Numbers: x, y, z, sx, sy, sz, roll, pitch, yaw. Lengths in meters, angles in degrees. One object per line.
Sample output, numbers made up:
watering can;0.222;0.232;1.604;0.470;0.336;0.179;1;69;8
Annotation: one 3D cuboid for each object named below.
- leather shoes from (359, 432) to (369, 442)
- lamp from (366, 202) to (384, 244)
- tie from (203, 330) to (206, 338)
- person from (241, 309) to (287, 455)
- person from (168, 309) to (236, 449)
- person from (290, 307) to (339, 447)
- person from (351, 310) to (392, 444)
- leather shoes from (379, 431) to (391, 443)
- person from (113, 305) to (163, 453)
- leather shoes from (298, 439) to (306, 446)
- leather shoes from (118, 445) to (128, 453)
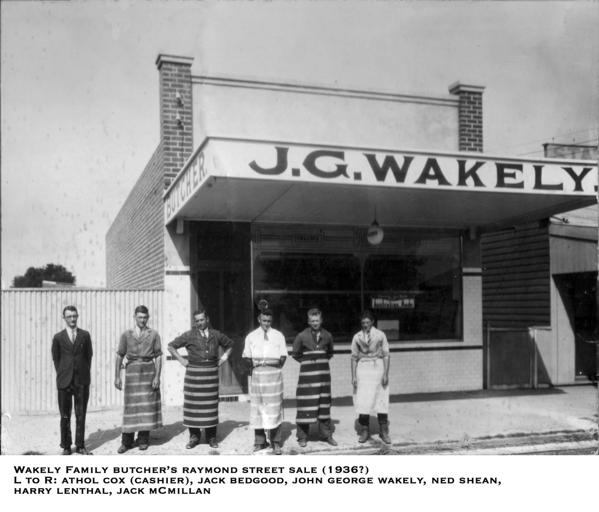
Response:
leather shoes;0.990;2.746;12.682;0.170;0.166;0.263;4;10;5
lamp;1.475;-0.548;15.906;0.347;0.833;1.137;3;10;5
tie;-1.420;1.164;12.440;0.049;0.090;0.020;1;-25;-5
person;-0.510;1.847;12.190;0.617;2.082;0.588;2;8;-3
person;-1.460;1.851;12.412;0.873;2.020;0.520;1;8;-8
person;0.226;1.947;12.541;0.671;1.831;0.563;2;8;-1
person;1.122;1.832;12.831;0.655;2.025;0.820;3;9;4
leather shoes;1.307;2.752;12.662;0.181;0.178;0.222;4;10;3
person;-2.366;1.811;12.331;0.670;2.122;0.517;0;8;-13
leather shoes;0.054;2.808;12.437;0.127;0.081;0.124;2;10;-10
leather shoes;-2.590;2.848;12.227;0.131;0.099;0.148;2;10;-5
